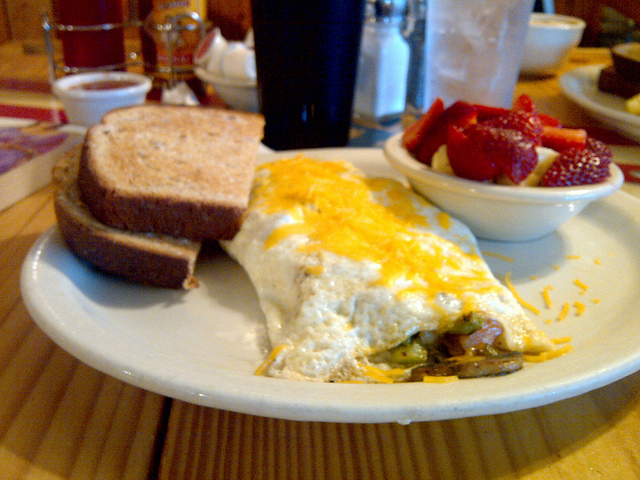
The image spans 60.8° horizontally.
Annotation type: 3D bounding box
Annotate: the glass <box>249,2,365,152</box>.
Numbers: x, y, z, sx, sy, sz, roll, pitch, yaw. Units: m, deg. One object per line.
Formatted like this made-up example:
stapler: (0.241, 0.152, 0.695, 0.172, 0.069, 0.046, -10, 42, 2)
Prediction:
glass: (-0.034, -0.509, 1.633, 0.322, 0.462, 0.187, -6, 15, -16)

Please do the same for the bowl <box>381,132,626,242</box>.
bowl: (0.451, -0.160, 1.183, 0.285, 0.111, 0.298, 9, 27, -4)

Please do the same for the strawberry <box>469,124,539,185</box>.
strawberry: (0.391, -0.189, 1.181, 0.170, 0.110, 0.105, -3, 16, -5)

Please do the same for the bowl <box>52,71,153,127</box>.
bowl: (-0.664, -0.455, 1.717, 0.235, 0.108, 0.288, 15, 34, 15)

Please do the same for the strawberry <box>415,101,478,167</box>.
strawberry: (0.277, -0.247, 1.310, 0.188, 0.133, 0.092, 14, 1, -32)

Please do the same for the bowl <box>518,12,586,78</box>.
bowl: (1.014, -0.867, 2.421, 0.225, 0.414, 0.286, 10, 18, 19)
